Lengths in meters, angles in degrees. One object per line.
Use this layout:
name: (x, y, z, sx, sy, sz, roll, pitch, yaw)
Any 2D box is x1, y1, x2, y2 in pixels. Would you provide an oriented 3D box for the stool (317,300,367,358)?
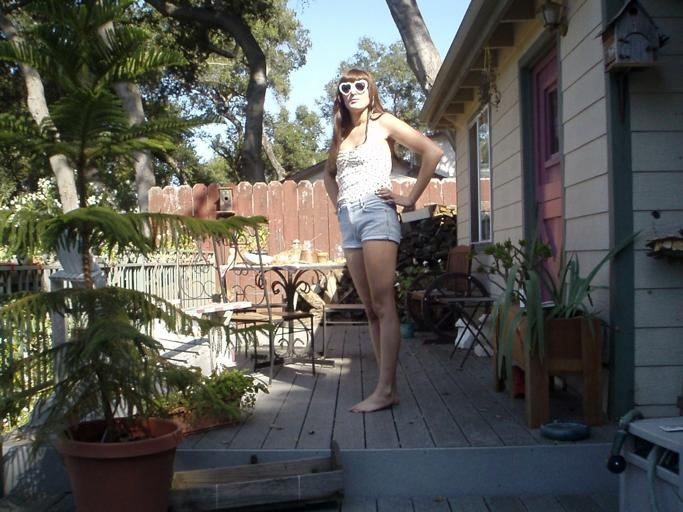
stool: (-0.042, 0.722, 5.991, 0.635, 0.779, 0.553, 0, -7, 1)

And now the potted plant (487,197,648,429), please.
potted plant: (1.276, 0.460, 3.421, 0.662, 0.993, 0.973, -1, 3, 13)

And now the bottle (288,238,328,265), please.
bottle: (-0.322, -0.034, 4.963, 0.283, 0.221, 0.220, 1, 0, 1)

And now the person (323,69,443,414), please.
person: (0.243, -0.120, 3.436, 0.815, 1.429, 0.396, -7, -4, 22)

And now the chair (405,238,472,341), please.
chair: (1.109, 0.385, 6.194, 0.592, 1.114, 0.769, 1, 0, -14)
